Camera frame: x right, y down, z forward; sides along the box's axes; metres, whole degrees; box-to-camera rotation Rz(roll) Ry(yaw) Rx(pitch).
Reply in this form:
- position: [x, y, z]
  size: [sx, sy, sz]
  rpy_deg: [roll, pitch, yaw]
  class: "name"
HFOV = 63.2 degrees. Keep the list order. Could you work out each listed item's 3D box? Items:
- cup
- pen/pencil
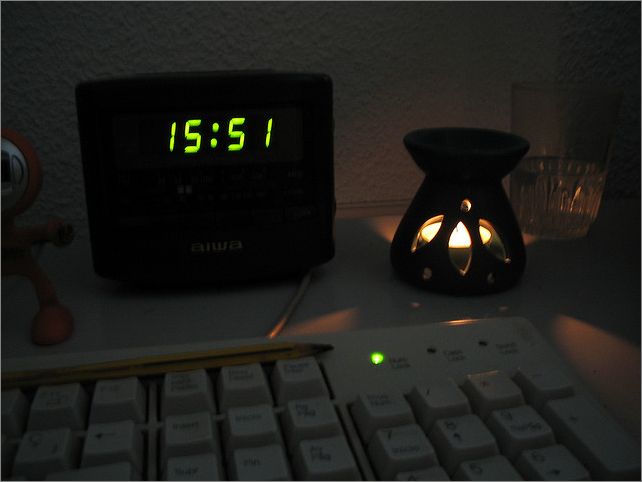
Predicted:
- position: [0.326, -0.113, 0.712]
  size: [0.136, 0.202, 0.095]
  rpy_deg: [4, 17, 19]
  class: "cup"
- position: [-0.110, 0.098, 0.405]
  size: [0.229, 0.015, 0.016]
  rpy_deg: [-3, 31, -13]
  class: "pen/pencil"
